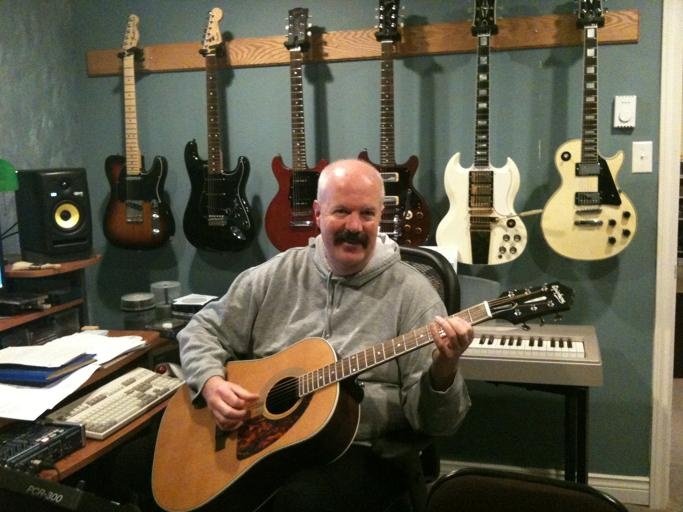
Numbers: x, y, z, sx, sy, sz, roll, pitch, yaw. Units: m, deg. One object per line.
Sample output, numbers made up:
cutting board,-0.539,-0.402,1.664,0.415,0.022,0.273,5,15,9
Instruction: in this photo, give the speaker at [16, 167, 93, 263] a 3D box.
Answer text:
speaker,-1.476,-0.228,3.416,0.268,0.460,0.264,-8,6,-22

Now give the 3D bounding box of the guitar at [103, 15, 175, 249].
guitar,-1.227,-0.706,3.631,0.373,1.332,0.365,-14,17,-40
